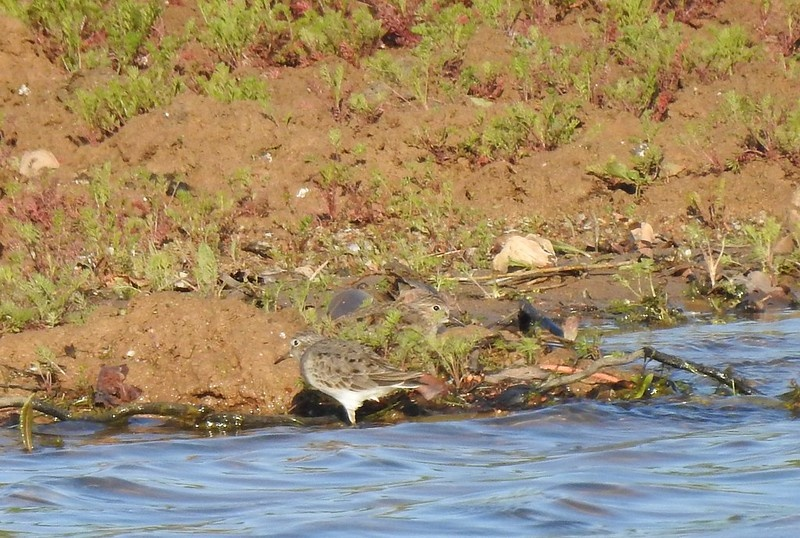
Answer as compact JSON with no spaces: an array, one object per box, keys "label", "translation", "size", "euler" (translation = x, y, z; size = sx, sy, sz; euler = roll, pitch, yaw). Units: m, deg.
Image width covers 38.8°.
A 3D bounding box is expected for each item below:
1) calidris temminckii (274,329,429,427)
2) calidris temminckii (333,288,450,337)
[{"label":"calidris temminckii","translation":[-0.436,0.962,10.505],"size":[1.743,0.570,0.871],"euler":[-7,94,25]},{"label":"calidris temminckii","translation":[-0.134,0.451,12.002],"size":[1.476,0.525,0.395],"euler":[6,37,-17]}]
